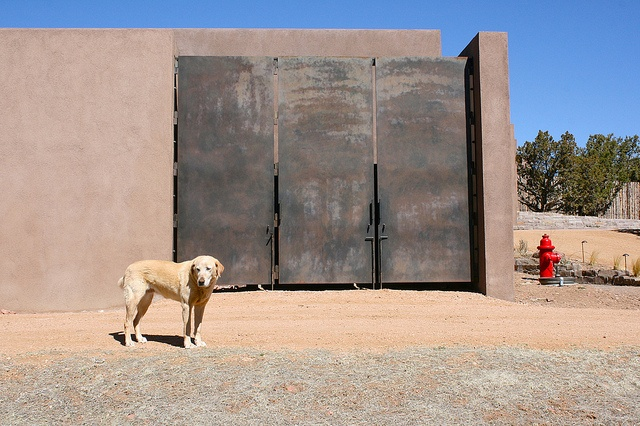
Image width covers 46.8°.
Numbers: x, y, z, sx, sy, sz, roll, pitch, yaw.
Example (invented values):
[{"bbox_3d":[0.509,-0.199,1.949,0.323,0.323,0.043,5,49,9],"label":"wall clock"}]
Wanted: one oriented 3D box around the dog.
[{"bbox_3d":[-2.975,1.666,14.273,2.211,1.817,0.770,2,6,14],"label":"dog"}]
